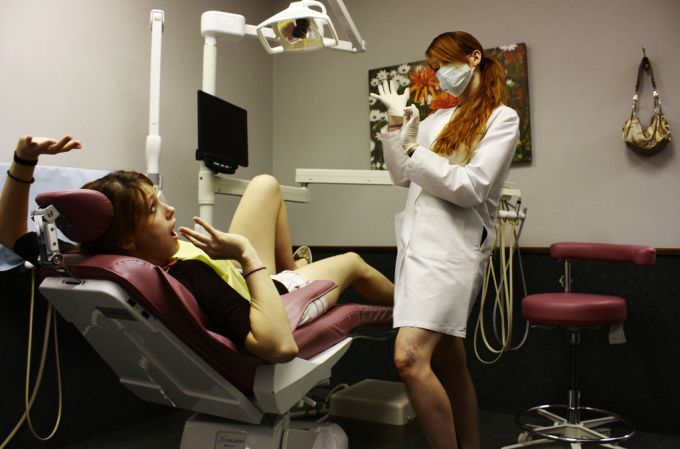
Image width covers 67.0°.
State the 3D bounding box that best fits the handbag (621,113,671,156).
[{"bbox_3d":[2.008,-0.588,3.361,0.271,0.275,0.153,6,11,32],"label":"handbag"}]

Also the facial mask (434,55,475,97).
[{"bbox_3d":[0.552,-0.718,2.486,0.140,0.160,0.126,3,3,20],"label":"facial mask"}]

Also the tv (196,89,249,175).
[{"bbox_3d":[-0.664,-0.495,2.886,0.041,0.409,0.429,-3,-5,28],"label":"tv"}]
